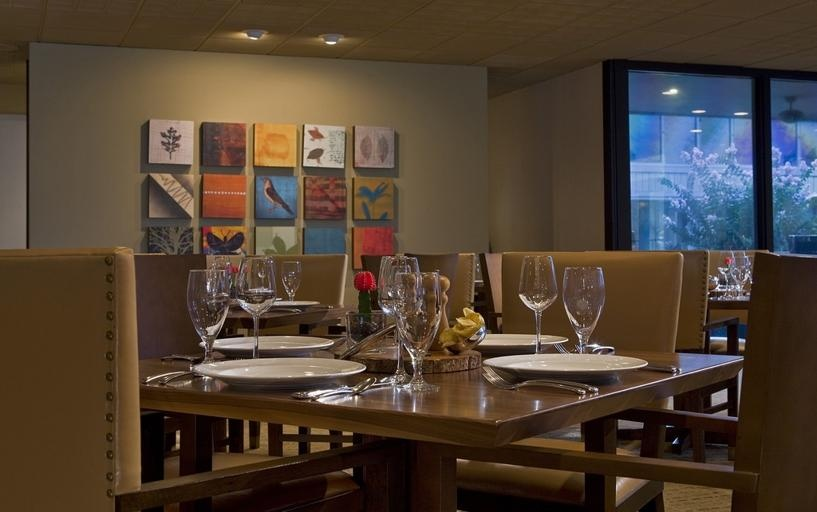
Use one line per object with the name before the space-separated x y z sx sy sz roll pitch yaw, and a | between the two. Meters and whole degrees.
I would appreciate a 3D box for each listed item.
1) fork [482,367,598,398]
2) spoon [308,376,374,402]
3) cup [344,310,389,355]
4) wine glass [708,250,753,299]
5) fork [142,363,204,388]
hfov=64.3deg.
fork | 0.322 0.303 1.552 0.261 0.038 0.038 2 5 27
spoon | -0.152 0.303 1.512 0.224 0.038 0.042 7 12 -46
cup | -0.121 0.215 1.796 0.109 0.119 0.105 1 -4 0
wine glass | 2.180 0.134 4.404 0.311 0.359 0.317 2 1 30
fork | -0.617 0.294 1.693 0.057 0.030 0.196 1 1 15
